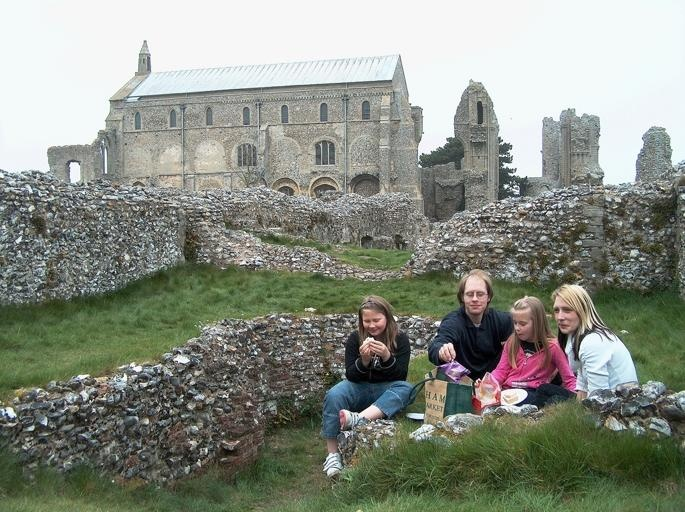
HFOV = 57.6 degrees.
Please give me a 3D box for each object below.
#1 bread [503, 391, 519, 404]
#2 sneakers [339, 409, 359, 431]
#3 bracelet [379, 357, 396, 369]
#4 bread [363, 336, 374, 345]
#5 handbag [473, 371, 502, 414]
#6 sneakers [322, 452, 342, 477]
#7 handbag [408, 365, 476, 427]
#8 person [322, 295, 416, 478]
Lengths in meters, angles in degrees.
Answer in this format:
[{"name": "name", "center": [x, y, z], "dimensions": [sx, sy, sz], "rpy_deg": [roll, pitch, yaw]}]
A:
[{"name": "bread", "center": [1.977, 1.665, 7.338], "dimensions": [0.141, 0.053, 0.133], "rpy_deg": [-21, 14, -32]}, {"name": "sneakers", "center": [0.092, 1.958, 7.450], "dimensions": [0.264, 0.253, 0.167], "rpy_deg": [-1, 4, -2]}, {"name": "bracelet", "center": [0.559, 1.340, 7.808], "dimensions": [0.232, 0.153, 0.075], "rpy_deg": [-1, 4, -2]}, {"name": "bread", "center": [0.325, 1.042, 7.768], "dimensions": [0.118, 0.063, 0.207], "rpy_deg": [-1, 4, 2]}, {"name": "handbag", "center": [1.684, 1.592, 7.285], "dimensions": [0.318, 0.187, 0.420], "rpy_deg": [2, 7, 19]}, {"name": "sneakers", "center": [-0.118, 2.472, 7.350], "dimensions": [0.273, 0.258, 0.583], "rpy_deg": [0, -18, -4]}, {"name": "handbag", "center": [1.188, 1.663, 7.566], "dimensions": [0.699, 0.958, 0.634], "rpy_deg": [-6, -13, 25]}, {"name": "person", "center": [0.236, 1.512, 7.777], "dimensions": [1.312, 1.992, 0.682], "rpy_deg": [-4, 5, -37]}]
